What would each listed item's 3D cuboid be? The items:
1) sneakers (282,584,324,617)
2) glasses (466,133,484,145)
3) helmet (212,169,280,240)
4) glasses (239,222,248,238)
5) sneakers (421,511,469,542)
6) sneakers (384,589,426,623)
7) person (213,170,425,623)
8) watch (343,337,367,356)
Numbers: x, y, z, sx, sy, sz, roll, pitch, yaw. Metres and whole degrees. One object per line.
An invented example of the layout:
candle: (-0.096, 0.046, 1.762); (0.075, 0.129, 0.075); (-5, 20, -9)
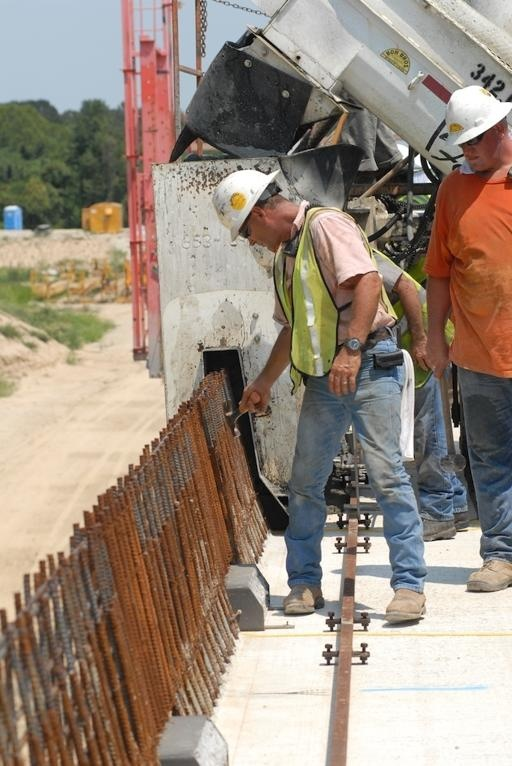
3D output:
sneakers: (0.172, 0.810, 3.345); (0.076, 0.081, 0.185); (-6, -10, 21)
glasses: (0.802, -0.877, 3.260); (0.039, 0.011, 0.036); (8, 34, -20)
helmet: (-0.058, -0.655, 3.223); (0.154, 0.258, 0.192); (28, 32, -6)
glasses: (-0.052, -0.545, 3.239); (0.027, 0.033, 0.033); (-2, -1, -2)
sneakers: (0.914, 0.691, 4.380); (0.331, 0.144, 0.107); (-3, 5, -27)
sneakers: (0.527, 0.791, 3.184); (0.081, 0.089, 0.202); (-9, -10, 20)
person: (0.269, 0.038, 3.324); (0.635, 1.667, 0.511); (-3, 6, 24)
watch: (0.339, -0.127, 3.053); (0.079, 0.043, 0.069); (10, 5, 3)
